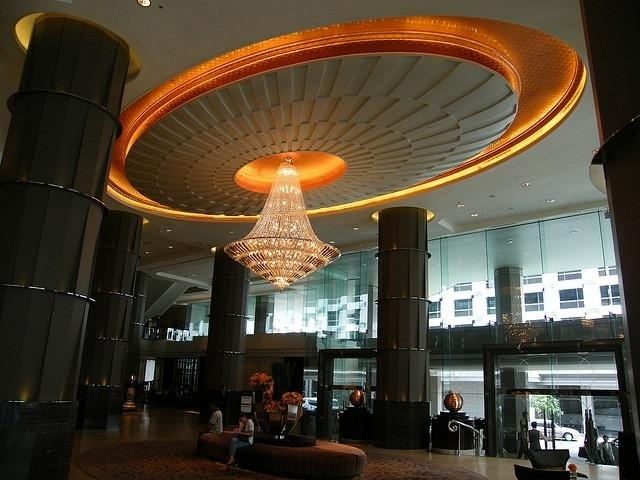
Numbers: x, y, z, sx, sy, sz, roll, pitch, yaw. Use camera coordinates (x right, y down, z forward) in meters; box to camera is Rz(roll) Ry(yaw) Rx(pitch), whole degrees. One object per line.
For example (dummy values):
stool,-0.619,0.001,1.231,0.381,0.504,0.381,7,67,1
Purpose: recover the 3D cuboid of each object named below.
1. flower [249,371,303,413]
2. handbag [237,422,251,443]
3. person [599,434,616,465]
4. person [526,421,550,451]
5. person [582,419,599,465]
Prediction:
flower,-1.025,3.705,10.410,1.238,0.860,0.989,0,-16,3
handbag,-1.601,4.187,9.373,0.333,0.380,0.369,-2,-34,14
person,7.961,5.805,11.873,0.357,0.735,0.088,-8,-19,27
person,6.362,5.720,12.582,0.415,0.709,0.653,-14,-22,42
person,7.662,5.630,12.069,0.361,1.137,0.148,-7,-19,25
